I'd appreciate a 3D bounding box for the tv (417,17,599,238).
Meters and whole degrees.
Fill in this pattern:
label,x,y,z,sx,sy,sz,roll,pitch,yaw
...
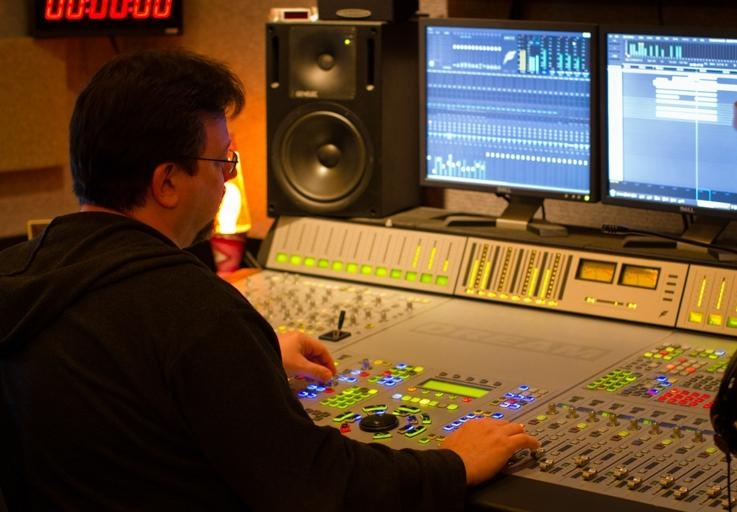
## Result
label,x,y,z,sx,sy,sz,roll,pitch,yaw
tv,0.534,-0.515,2.531,0.852,0.872,0.268,5,14,28

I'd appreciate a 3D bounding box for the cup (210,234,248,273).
label,x,y,z,sx,sy,sz,roll,pitch,yaw
cup,-0.614,-0.011,3.018,0.168,0.167,0.163,-1,3,0
